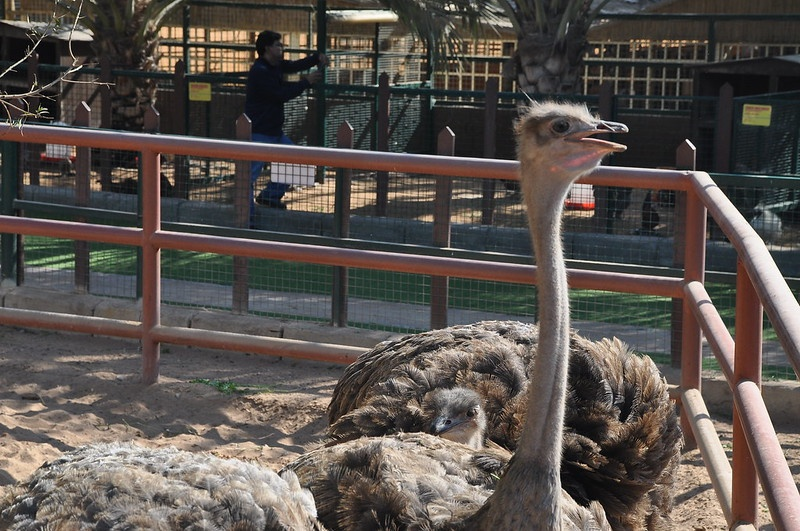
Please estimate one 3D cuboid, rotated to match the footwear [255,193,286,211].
[{"bbox_3d":[-1.267,-0.644,13.306,0.276,0.151,0.166,18,-5,-28],"label":"footwear"}]
